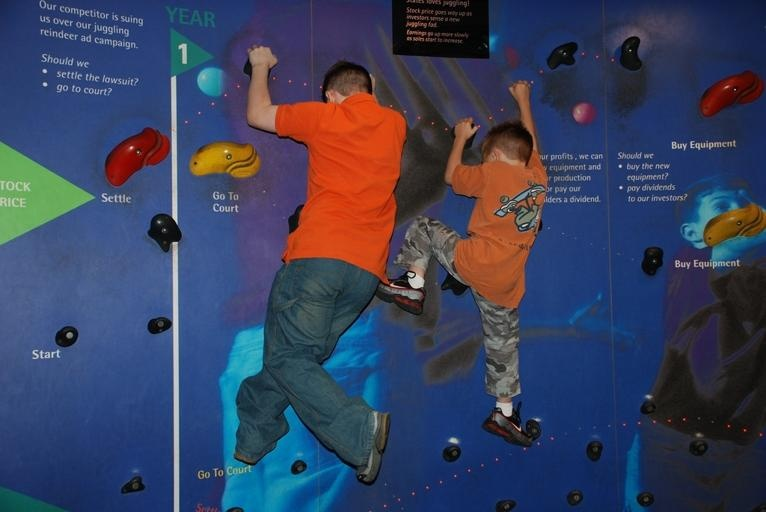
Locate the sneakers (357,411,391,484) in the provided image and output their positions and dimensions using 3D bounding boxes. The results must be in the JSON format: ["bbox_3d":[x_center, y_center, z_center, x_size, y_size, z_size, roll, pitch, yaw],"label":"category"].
[{"bbox_3d":[-0.089,1.417,5.516,0.284,0.584,0.146,1,4,41],"label":"sneakers"}]

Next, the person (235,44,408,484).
[{"bbox_3d":[-0.453,0.082,5.734,1.238,3.133,0.650,-1,3,9],"label":"person"}]
